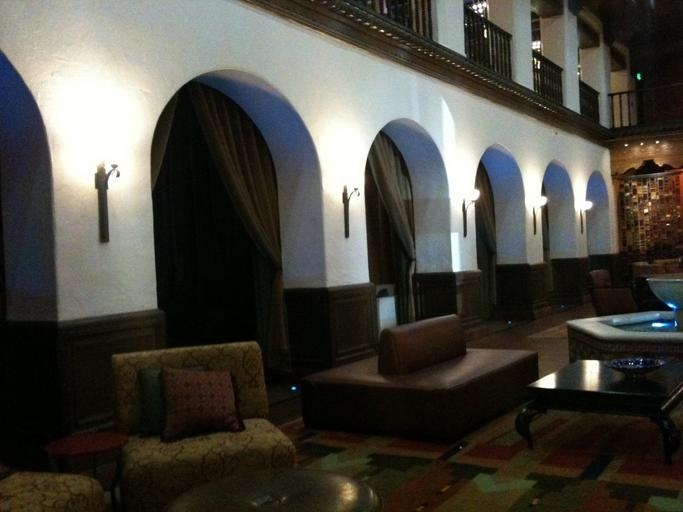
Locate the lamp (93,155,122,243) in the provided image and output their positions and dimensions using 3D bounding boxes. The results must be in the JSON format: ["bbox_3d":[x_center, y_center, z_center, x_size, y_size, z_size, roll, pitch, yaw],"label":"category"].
[{"bbox_3d":[-2.057,-0.476,5.230,0.257,0.717,0.161,-7,9,-43],"label":"lamp"}]

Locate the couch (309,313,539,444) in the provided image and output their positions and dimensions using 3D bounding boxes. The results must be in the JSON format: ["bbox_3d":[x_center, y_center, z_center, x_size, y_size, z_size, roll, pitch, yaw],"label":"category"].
[{"bbox_3d":[0.813,1.138,5.608,2.229,0.959,1.248,-5,8,-24],"label":"couch"}]
